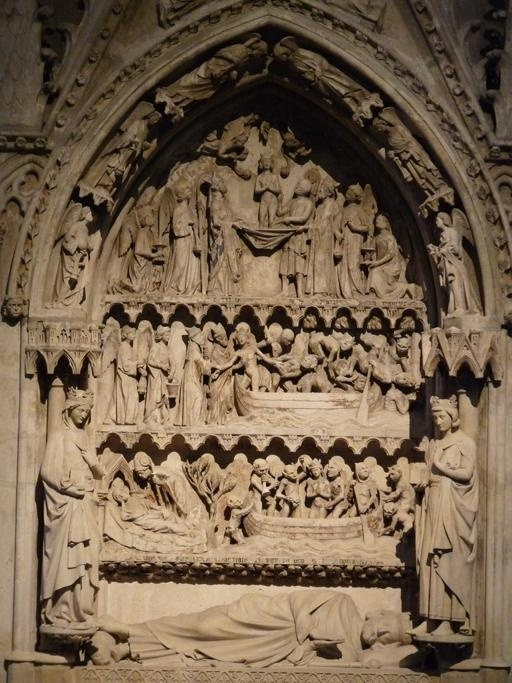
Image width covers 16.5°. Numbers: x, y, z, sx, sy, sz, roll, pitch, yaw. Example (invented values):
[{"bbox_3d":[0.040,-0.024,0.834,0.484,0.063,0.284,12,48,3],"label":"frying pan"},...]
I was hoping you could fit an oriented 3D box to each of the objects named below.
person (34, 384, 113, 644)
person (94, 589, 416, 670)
[{"bbox_3d":[-1.345,1.212,12.905,0.464,1.719,0.465,2,-20,-10],"label":"person"},{"bbox_3d":[0.021,2.167,13.352,1.863,0.604,0.930,-2,5,-3],"label":"person"}]
